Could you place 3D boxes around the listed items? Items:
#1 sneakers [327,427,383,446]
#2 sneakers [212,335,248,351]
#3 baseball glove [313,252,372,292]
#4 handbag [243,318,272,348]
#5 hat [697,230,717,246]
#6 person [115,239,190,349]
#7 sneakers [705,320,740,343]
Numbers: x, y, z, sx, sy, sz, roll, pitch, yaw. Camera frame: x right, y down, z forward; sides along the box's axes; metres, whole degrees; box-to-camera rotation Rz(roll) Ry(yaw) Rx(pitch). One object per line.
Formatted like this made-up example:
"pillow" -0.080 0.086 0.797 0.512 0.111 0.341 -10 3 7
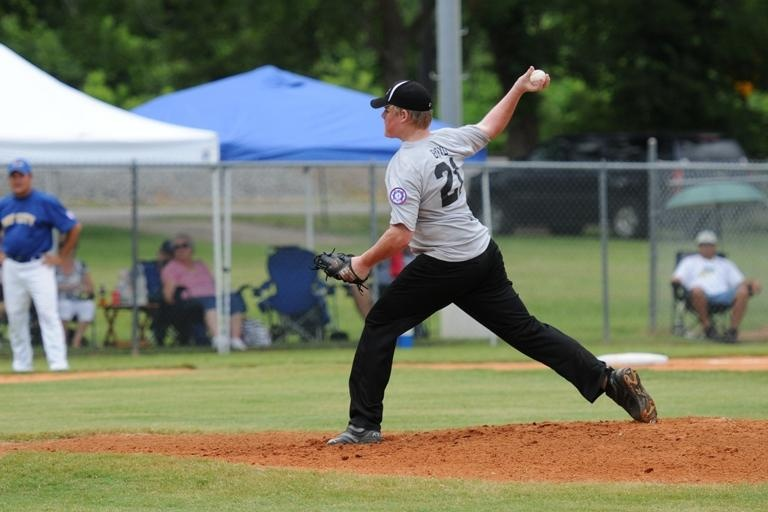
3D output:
"sneakers" -0.359 2.196 20.530 0.692 0.249 0.235 1 -2 -1
"sneakers" -2.083 1.172 22.464 0.486 0.171 0.166 1 -1 -8
"baseball glove" -0.423 0.084 20.309 0.678 0.301 0.384 13 10 29
"handbag" -1.742 1.052 22.895 0.387 0.372 0.397 -1 -3 33
"hat" 4.464 -0.260 23.140 0.248 0.194 0.180 13 -11 -25
"person" -3.097 0.485 22.389 0.966 1.354 0.633 -2 2 -2
"sneakers" 4.680 1.057 22.998 0.429 0.207 0.250 1 -1 14
